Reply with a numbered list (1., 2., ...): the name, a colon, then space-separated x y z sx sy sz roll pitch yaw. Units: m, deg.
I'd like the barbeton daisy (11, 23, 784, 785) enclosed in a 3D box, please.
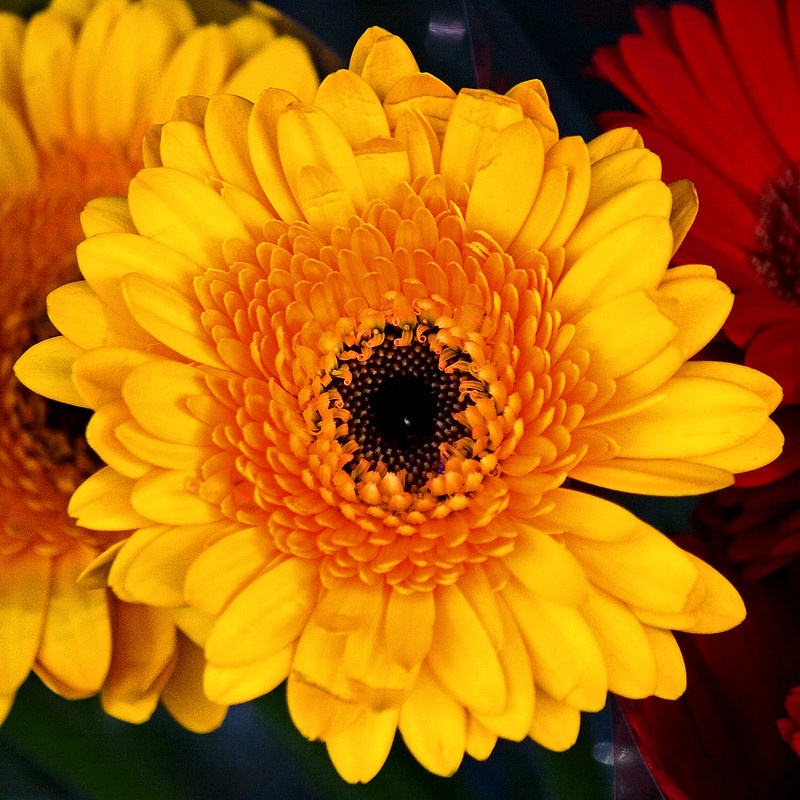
1. barbeton daisy: -0.004 -0.025 0.555 0.351 0.374 0.145 24 -59 18
